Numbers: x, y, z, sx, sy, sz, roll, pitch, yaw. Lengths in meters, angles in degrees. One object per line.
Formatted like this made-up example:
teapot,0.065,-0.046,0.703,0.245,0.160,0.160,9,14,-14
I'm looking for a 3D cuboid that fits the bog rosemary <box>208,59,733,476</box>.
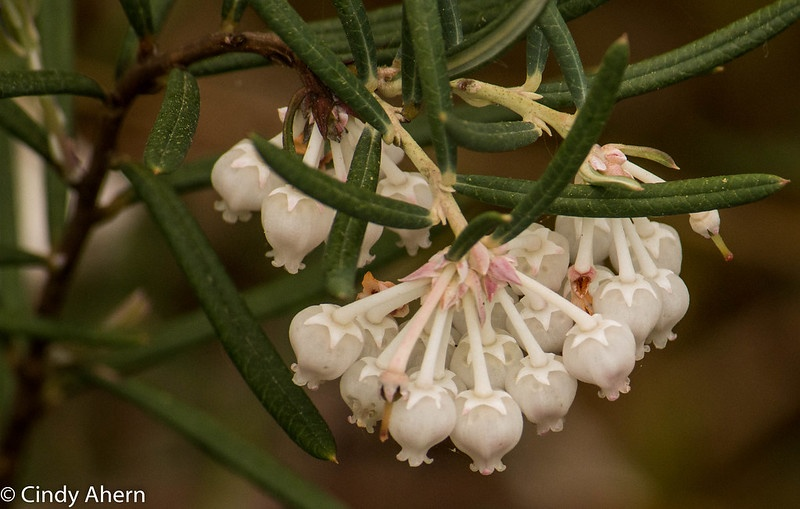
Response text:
bog rosemary,0.110,0.121,1.415,0.737,0.694,0.270,-20,-27,-21
